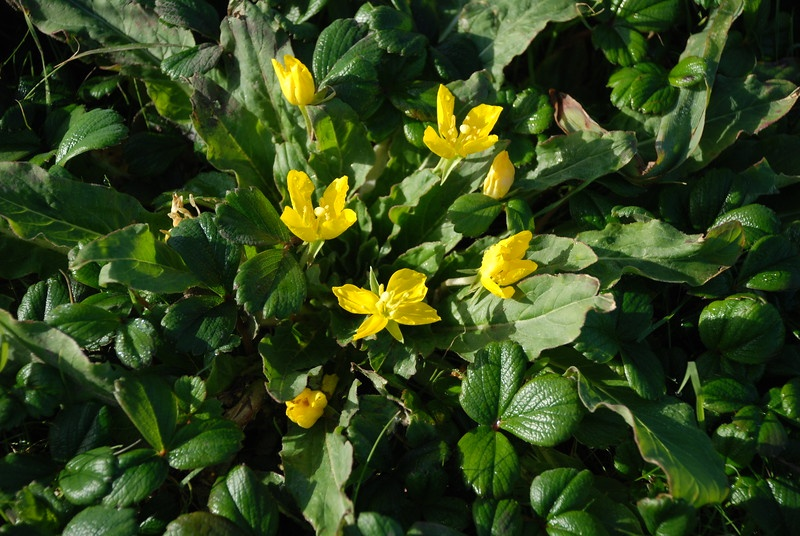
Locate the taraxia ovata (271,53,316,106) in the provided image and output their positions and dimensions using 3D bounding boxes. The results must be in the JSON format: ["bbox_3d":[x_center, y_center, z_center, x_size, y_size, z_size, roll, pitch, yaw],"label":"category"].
[{"bbox_3d":[-0.443,-0.760,2.641,0.137,0.142,0.249,-32,112,-8],"label":"taraxia ovata"}]

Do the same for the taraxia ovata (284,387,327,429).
[{"bbox_3d":[-0.357,0.543,2.539,0.167,0.093,0.127,-36,66,-28],"label":"taraxia ovata"}]
